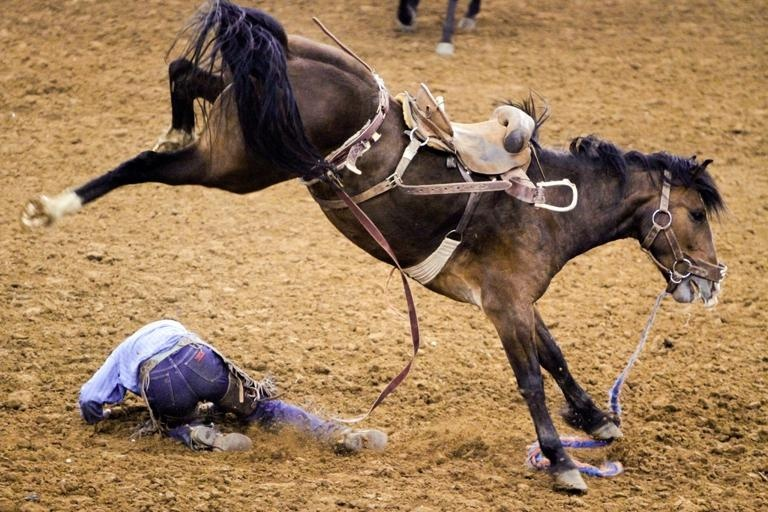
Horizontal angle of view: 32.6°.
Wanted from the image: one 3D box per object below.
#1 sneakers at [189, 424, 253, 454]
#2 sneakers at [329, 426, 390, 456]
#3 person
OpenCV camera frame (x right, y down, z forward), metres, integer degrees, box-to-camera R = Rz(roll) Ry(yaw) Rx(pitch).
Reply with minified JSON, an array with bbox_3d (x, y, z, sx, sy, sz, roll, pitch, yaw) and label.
[{"bbox_3d":[-1.486,1.657,11.924,0.624,0.193,0.229,7,2,2],"label":"sneakers"},{"bbox_3d":[-0.214,1.708,12.059,0.378,0.128,0.260,-2,3,-18],"label":"sneakers"},{"bbox_3d":[-1.380,1.224,12.082,2.307,0.729,1.328,9,11,6],"label":"person"}]
